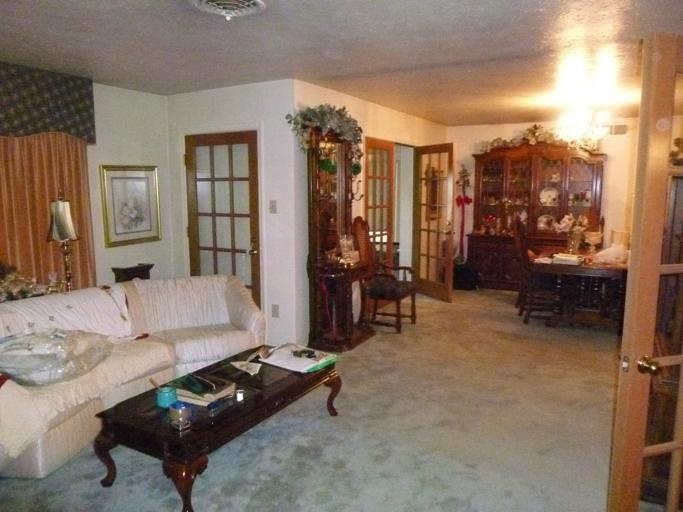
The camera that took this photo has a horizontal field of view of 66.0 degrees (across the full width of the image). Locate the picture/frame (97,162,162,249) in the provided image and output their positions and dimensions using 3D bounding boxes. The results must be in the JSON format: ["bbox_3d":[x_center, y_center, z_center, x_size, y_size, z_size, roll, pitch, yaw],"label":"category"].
[{"bbox_3d":[-2.392,-0.576,5.968,0.139,0.883,0.725,7,12,28],"label":"picture/frame"}]

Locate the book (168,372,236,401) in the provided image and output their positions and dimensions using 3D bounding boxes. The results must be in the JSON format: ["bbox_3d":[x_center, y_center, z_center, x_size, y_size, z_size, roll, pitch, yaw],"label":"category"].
[{"bbox_3d":[-0.911,0.890,3.550,0.230,0.073,0.226,0,5,-38],"label":"book"}]

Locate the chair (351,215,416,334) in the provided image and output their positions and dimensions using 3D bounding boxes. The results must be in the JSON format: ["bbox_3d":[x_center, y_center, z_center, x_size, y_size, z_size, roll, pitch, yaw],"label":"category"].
[{"bbox_3d":[0.584,0.150,6.714,0.778,1.364,1.806,2,10,8],"label":"chair"}]

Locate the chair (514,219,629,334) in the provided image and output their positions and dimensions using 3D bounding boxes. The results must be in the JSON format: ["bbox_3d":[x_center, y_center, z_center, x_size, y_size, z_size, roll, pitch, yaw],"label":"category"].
[{"bbox_3d":[2.777,0.290,6.523,1.089,1.161,1.651,-1,10,-12],"label":"chair"}]

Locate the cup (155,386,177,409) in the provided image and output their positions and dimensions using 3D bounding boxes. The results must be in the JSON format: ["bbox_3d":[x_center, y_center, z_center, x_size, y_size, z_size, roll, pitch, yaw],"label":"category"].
[{"bbox_3d":[-1.140,0.914,3.444,0.150,0.125,0.137,1,4,0],"label":"cup"}]

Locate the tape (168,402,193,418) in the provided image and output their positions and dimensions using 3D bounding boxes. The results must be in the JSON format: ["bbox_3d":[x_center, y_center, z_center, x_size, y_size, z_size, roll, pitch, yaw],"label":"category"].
[{"bbox_3d":[-0.988,0.943,3.209,0.102,0.062,0.097,3,3,17],"label":"tape"}]

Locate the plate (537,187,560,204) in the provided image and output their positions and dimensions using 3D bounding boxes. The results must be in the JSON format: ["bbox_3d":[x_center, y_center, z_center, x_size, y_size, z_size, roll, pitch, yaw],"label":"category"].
[{"bbox_3d":[3.202,-0.917,8.121,0.262,0.280,0.051,7,13,28],"label":"plate"}]

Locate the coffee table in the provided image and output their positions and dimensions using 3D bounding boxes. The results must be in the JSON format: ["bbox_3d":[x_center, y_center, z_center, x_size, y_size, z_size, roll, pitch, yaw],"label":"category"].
[{"bbox_3d":[-1.005,0.860,3.465,0.856,0.428,1.436,4,9,31],"label":"coffee table"}]

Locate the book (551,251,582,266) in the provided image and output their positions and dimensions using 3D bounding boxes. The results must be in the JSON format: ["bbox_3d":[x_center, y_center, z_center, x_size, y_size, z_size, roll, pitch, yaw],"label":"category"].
[{"bbox_3d":[2.657,0.038,6.195,0.326,0.068,0.548,4,10,21],"label":"book"}]

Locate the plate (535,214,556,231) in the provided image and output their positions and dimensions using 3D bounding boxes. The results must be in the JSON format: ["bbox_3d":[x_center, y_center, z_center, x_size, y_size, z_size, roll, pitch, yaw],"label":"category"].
[{"bbox_3d":[3.167,-0.522,8.155,0.268,0.236,0.063,7,2,27],"label":"plate"}]
